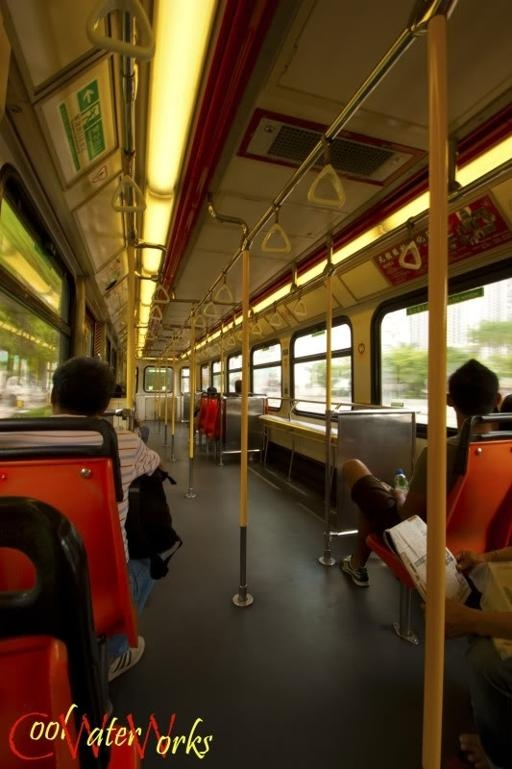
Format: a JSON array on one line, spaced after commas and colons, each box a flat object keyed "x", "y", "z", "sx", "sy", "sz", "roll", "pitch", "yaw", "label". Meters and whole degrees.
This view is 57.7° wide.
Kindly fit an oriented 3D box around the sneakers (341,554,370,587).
[{"x": 0.591, "y": 1.100, "z": 2.738, "sx": 0.066, "sy": 0.091, "sz": 0.191, "roll": 1, "pitch": 6, "yaw": -12, "label": "sneakers"}]

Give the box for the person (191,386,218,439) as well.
[{"x": -0.779, "y": 0.531, "z": 7.746, "sx": 0.179, "sy": 0.639, "sz": 0.830, "roll": 4, "pitch": 2, "yaw": -26, "label": "person"}]
